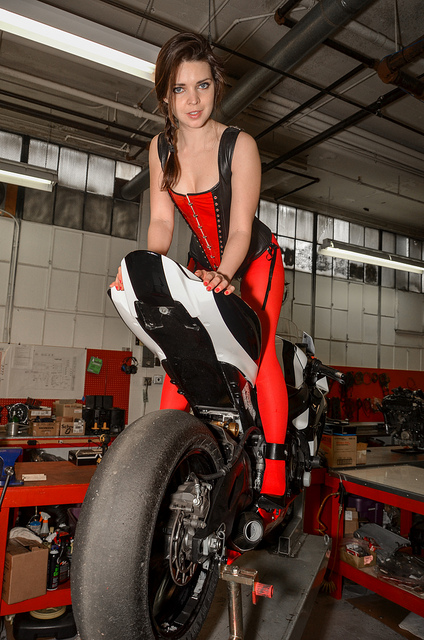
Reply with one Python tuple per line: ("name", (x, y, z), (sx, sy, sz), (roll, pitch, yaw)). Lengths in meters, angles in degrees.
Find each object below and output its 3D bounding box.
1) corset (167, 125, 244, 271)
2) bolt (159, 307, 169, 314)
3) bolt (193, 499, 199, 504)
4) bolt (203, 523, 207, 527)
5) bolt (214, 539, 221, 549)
("corset", (-0.021, -0.366, 1.411), (0.218, 0.380, 0.163), (-6, 32, 12))
("bolt", (-0.102, -0.024, 0.978), (0.026, 0.012, 0.015), (-2, -8, 43))
("bolt", (-0.032, 0.371, 0.941), (0.009, 0.009, 0.002), (2, -8, -10))
("bolt", (-0.014, 0.419, 0.938), (0.003, 0.009, 0.006), (0, -12, 20))
("bolt", (0.013, 0.460, 0.941), (0.006, 0.014, 0.015), (-1, 6, 16))
